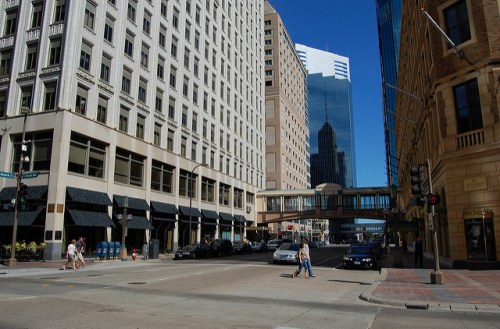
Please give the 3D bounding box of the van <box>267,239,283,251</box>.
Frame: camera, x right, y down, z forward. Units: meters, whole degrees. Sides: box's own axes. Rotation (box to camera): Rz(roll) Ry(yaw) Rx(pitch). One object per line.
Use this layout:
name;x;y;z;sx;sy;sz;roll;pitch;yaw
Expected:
van;3.674;12.281;65.727;1.833;1.693;3.151;-5;-16;19

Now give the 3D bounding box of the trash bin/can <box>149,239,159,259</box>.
trash bin/can;-10.287;8.990;45.635;0.784;2.040;1.562;8;-17;-34

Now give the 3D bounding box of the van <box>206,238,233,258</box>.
van;-3.781;10.115;52.430;1.526;2.314;5.582;-5;-15;15

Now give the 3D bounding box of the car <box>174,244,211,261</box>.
car;-6.295;9.710;47.868;1.552;1.724;4.663;-8;-17;26

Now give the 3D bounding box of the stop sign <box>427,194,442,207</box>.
stop sign;11.534;2.226;27.274;0.636;0.732;0.638;-6;-15;17

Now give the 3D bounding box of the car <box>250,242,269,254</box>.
car;1.235;12.025;62.435;1.057;0.904;2.542;-5;-18;21

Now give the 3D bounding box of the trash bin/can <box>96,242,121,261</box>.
trash bin/can;-13.704;8.354;41.658;0.895;1.541;1.647;-2;-13;26

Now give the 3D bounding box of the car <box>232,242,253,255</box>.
car;-1.230;11.228;57.454;1.160;1.623;3.445;-8;-16;25
